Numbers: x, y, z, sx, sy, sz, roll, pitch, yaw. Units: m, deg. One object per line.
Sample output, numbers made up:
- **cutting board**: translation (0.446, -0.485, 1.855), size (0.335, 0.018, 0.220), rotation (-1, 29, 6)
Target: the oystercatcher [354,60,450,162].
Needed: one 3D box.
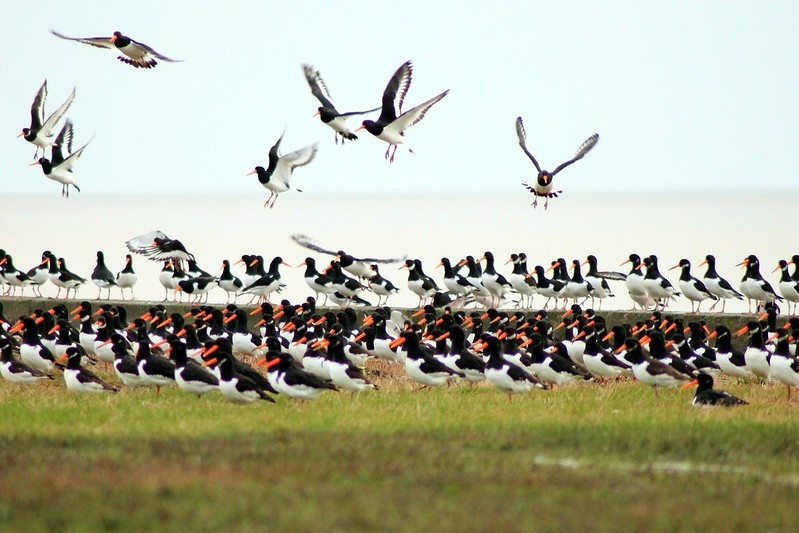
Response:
- **oystercatcher**: translation (-0.067, -3.936, 40.952), size (0.883, 1.969, 1.913), rotation (-2, 3, -30)
